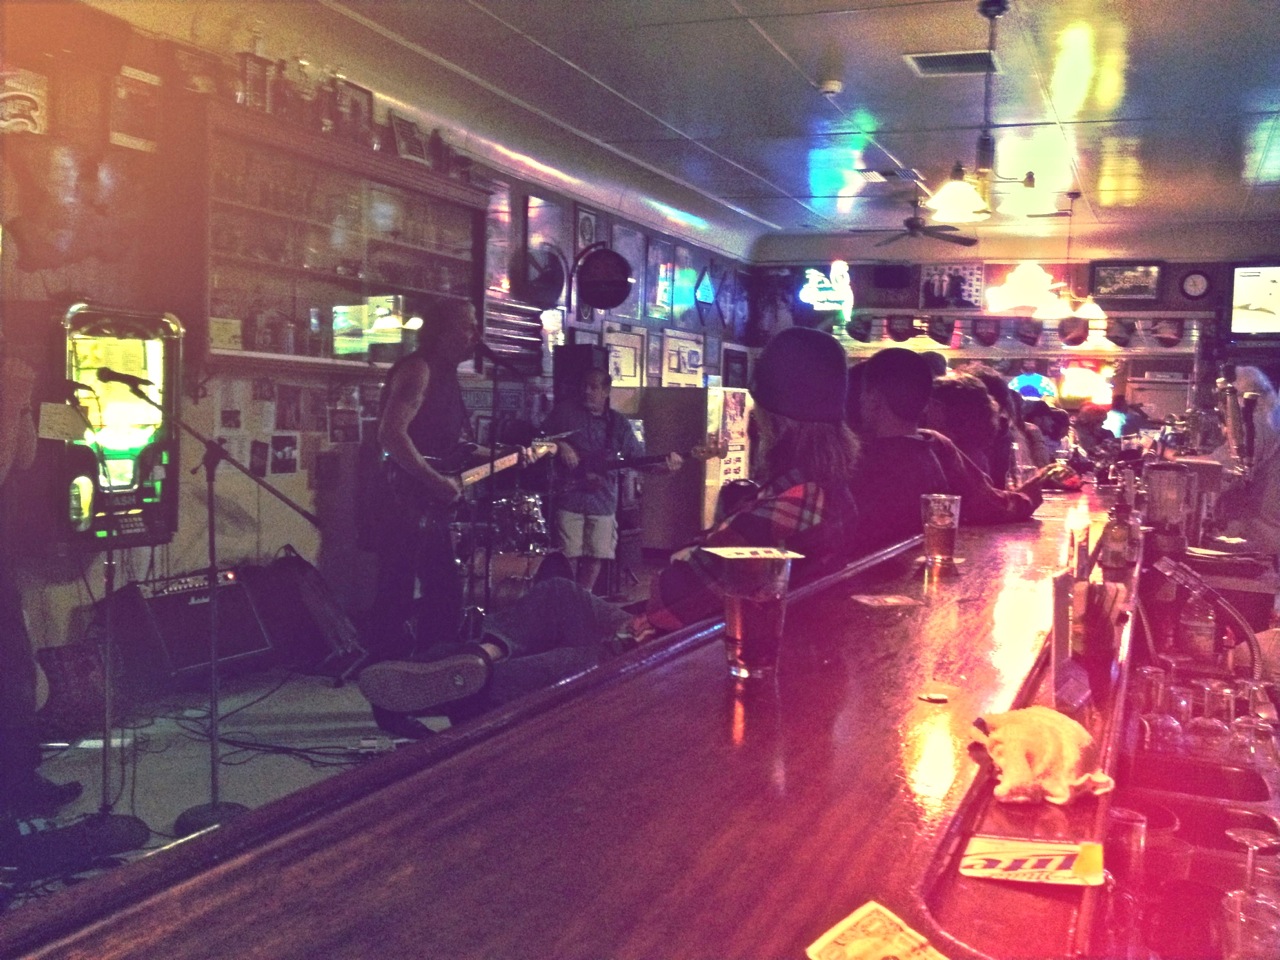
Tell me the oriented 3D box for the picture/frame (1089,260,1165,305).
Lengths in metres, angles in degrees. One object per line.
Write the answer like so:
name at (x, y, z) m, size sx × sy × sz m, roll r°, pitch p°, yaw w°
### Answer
picture/frame at (5.683, -2.280, 12.082) m, size 0.790 × 0.565 × 0.112 m, roll 4°, pitch 5°, yaw 33°

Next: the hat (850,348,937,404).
hat at (0.883, -0.320, 3.564) m, size 0.168 × 0.221 × 0.221 m, roll 3°, pitch -22°, yaw 3°

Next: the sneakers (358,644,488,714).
sneakers at (-0.472, 0.426, 2.237) m, size 0.150 × 0.125 × 0.398 m, roll -3°, pitch 6°, yaw -40°

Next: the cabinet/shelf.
cabinet/shelf at (-1.710, -1.349, 5.841) m, size 0.339 × 1.199 × 2.002 m, roll -3°, pitch -4°, yaw 27°

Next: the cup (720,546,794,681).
cup at (0.220, 0.251, 2.040) m, size 0.153 × 0.251 × 0.126 m, roll 0°, pitch 4°, yaw -6°

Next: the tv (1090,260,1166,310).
tv at (5.692, -2.255, 12.068) m, size 0.841 × 0.628 × 0.119 m, roll 3°, pitch 4°, yaw 31°

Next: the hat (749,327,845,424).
hat at (0.451, -0.292, 2.937) m, size 0.262 × 0.258 × 0.145 m, roll 1°, pitch 4°, yaw 5°

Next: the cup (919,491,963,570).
cup at (0.887, 0.136, 3.068) m, size 0.093 × 0.202 × 0.307 m, roll 2°, pitch 4°, yaw 16°
